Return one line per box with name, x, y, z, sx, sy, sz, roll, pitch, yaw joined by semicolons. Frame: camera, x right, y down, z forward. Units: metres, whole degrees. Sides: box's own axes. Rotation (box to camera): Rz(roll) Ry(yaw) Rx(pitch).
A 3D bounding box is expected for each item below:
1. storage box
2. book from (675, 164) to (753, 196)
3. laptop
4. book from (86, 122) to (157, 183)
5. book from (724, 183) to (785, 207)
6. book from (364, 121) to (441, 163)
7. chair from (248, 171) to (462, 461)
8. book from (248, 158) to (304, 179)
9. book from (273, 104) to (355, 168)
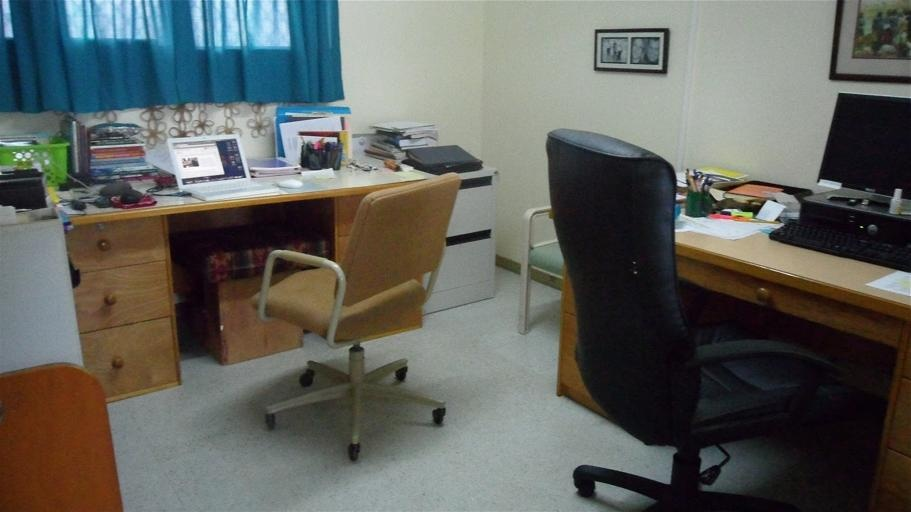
storage box;-1.372;0.371;3.958;0.643;0.521;0.604;-8;14;-35
book;1.539;-0.454;3.626;0.277;0.062;0.291;-12;20;-33
laptop;-1.348;-0.484;3.574;0.506;0.291;0.531;-14;24;-42
book;-2.021;-0.611;3.689;0.324;0.131;0.421;-12;23;-35
book;1.651;-0.345;3.448;0.194;0.042;0.184;10;26;38
book;-0.362;-0.835;4.437;0.377;0.152;0.363;-10;20;-31
chair;-0.552;0.243;3.411;0.952;1.298;0.975;-9;18;-40
book;-1.152;-0.562;3.957;0.237;0.048;0.225;-10;23;-31
book;-0.978;-0.794;4.176;0.566;0.454;0.128;2;-5;-12
